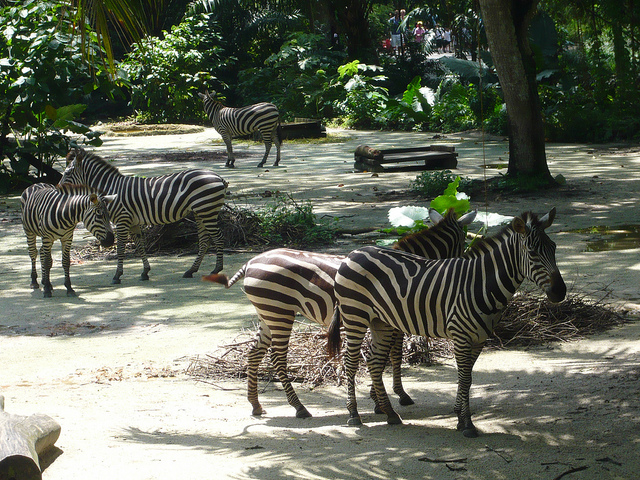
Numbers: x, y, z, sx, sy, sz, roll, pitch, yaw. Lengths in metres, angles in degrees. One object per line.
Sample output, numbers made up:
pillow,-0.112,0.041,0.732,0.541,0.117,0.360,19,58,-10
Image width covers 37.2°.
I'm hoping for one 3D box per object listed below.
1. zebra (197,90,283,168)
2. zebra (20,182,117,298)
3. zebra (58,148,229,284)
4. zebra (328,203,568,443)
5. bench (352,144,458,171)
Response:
zebra,-2.174,-2.853,24.752,2.732,1.802,0.673,6,13,24
zebra,-3.610,-0.006,13.341,0.749,1.559,2.451,-3,8,-43
zebra,-2.701,-0.339,14.203,2.820,1.762,0.778,2,1,7
zebra,1.235,0.846,9.434,2.727,1.975,0.714,-5,-16,42
bench,1.949,-1.942,22.475,2.325,0.561,2.271,-2,4,1
